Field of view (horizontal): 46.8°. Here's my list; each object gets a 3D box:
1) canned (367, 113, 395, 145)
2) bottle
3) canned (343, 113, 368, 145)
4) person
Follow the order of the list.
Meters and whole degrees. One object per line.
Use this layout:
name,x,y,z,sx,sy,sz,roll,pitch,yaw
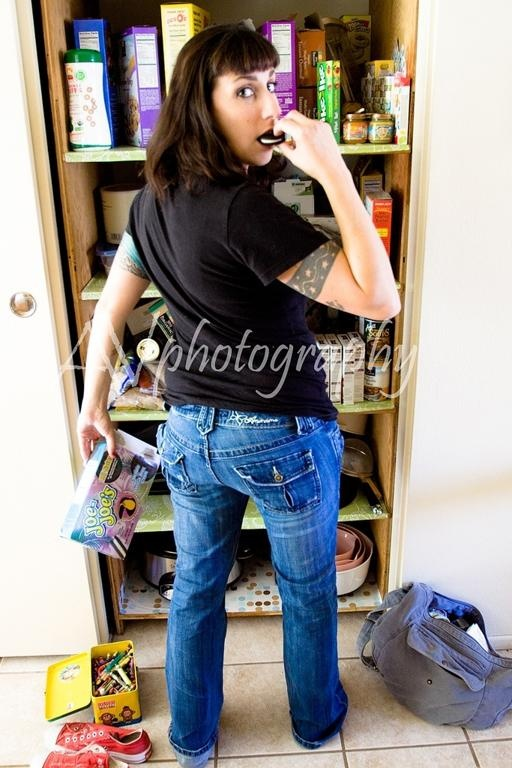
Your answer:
canned,0.283,-0.570,1.329,0.063,0.069,0.066,-2,26,1
bottle,-0.380,-0.644,1.329,0.082,0.209,0.092,-11,29,-24
canned,0.220,-0.584,1.363,0.064,0.071,0.068,-2,24,1
person,-0.065,0.187,1.116,0.609,1.518,0.370,3,22,12
